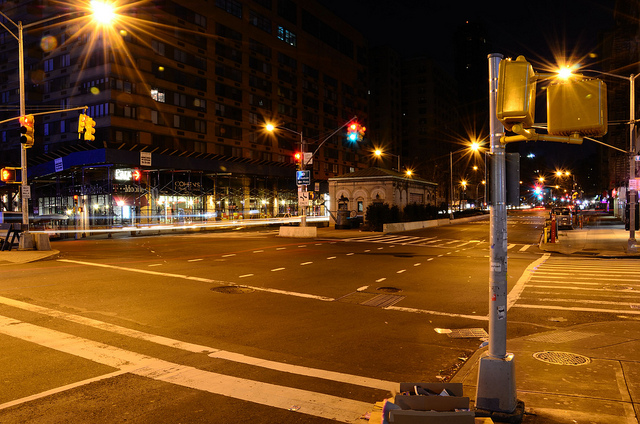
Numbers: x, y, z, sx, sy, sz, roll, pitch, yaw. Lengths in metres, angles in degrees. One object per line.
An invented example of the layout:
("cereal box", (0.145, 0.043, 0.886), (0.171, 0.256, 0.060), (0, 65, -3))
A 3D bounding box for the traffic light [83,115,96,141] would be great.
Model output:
("traffic light", (-12.286, -4.494, 30.569), (0.494, 1.262, 0.964), (-5, 11, -23))

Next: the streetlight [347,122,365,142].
("streetlight", (2.114, -4.919, 33.991), (0.908, 0.954, 0.391), (5, 40, 5))

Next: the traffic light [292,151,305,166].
("traffic light", (-1.514, -3.838, 41.275), (0.761, 1.058, 1.705), (-1, 11, -3))
